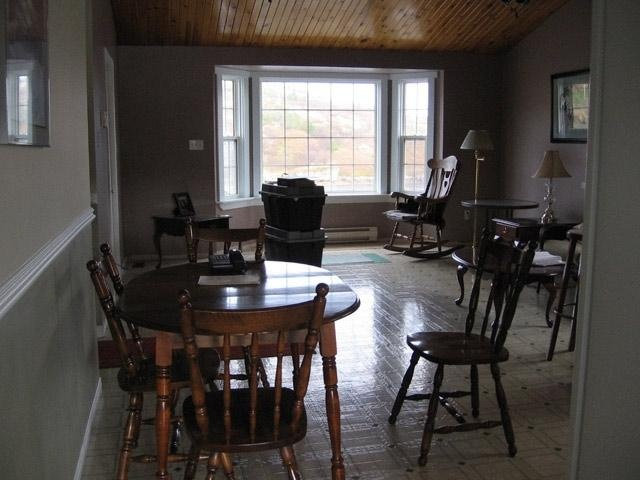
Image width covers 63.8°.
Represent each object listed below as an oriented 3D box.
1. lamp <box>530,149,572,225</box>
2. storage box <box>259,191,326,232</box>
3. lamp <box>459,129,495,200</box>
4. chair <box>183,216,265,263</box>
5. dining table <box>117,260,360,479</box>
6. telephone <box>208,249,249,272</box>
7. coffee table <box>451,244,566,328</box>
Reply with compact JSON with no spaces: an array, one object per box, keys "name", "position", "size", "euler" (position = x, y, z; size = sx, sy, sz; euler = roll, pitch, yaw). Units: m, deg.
[{"name":"lamp","position":[2.567,-0.580,5.728],"size":[0.345,0.813,1.489],"euler":[5,12,24]},{"name":"storage box","position":[-0.324,-0.331,5.747],"size":[0.412,0.317,0.609],"euler":[-1,5,-24]},{"name":"lamp","position":[2.088,-0.993,6.911],"size":[0.369,0.980,1.071],"euler":[3,12,16]},{"name":"chair","position":[-0.608,-0.024,3.328],"size":[0.460,0.352,0.336],"euler":[-1,2,-10]},{"name":"dining table","position":[-0.383,0.405,2.493],"size":[0.894,0.725,1.124],"euler":[0,6,-7]},{"name":"telephone","position":[-0.499,0.108,2.810],"size":[0.120,0.061,0.168],"euler":[2,15,-14]},{"name":"coffee table","position":[1.534,0.260,4.161],"size":[0.771,0.352,0.783],"euler":[2,9,10]}]
